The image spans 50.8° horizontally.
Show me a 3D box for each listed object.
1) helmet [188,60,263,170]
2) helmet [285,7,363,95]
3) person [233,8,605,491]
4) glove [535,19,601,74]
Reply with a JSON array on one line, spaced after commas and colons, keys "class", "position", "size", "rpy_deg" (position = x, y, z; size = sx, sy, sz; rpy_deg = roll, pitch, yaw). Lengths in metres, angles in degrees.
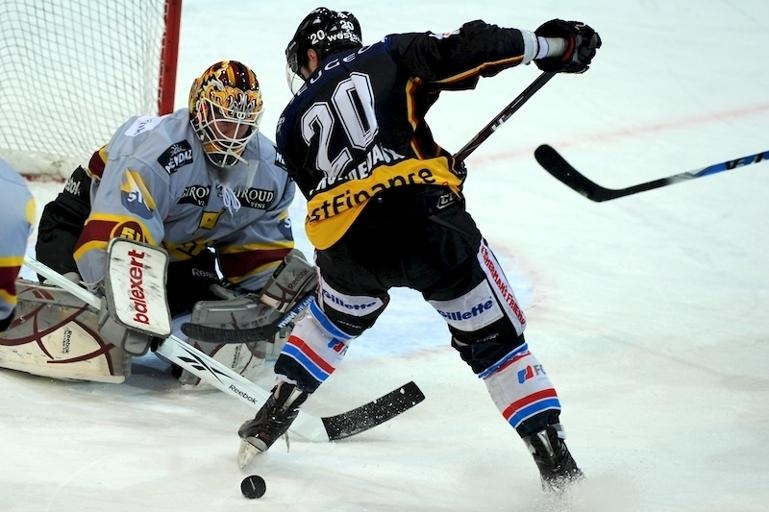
[{"class": "helmet", "position": [-0.759, -0.672, 3.851], "size": [0.417, 0.473, 0.491], "rpy_deg": [0, 35, -20]}, {"class": "helmet", "position": [-0.245, -0.872, 3.448], "size": [0.423, 0.357, 0.346], "rpy_deg": [11, 16, 41]}, {"class": "person", "position": [0.120, 0.010, 3.183], "size": [1.421, 1.953, 0.559], "rpy_deg": [20, 21, -4]}, {"class": "glove", "position": [0.695, -0.810, 3.148], "size": [0.263, 0.212, 0.179], "rpy_deg": [17, 20, -6]}]
